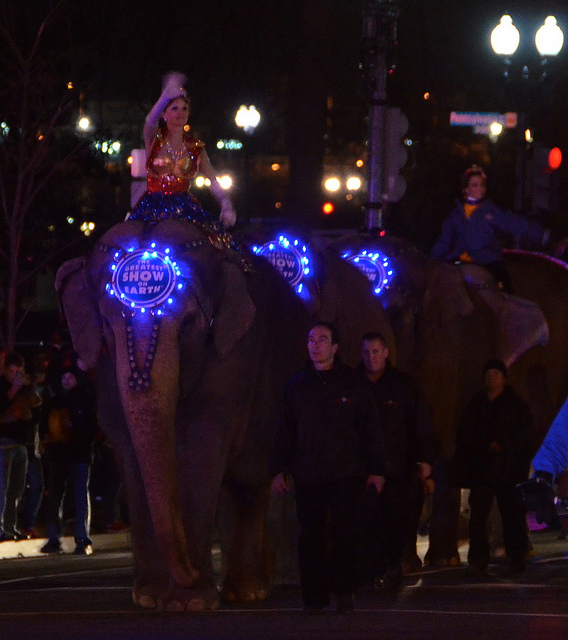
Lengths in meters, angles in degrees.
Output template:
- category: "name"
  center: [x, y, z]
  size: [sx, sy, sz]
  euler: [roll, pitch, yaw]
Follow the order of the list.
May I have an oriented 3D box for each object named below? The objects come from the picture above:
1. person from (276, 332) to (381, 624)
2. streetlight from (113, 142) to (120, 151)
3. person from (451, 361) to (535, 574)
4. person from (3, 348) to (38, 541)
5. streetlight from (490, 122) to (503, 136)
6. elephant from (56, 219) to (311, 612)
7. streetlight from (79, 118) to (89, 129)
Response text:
- category: "person"
  center: [0.255, 0.793, 5.373]
  size: [0.461, 1.467, 0.419]
  euler: [2, -7, -28]
- category: "streetlight"
  center: [-3.188, -3.304, 19.076]
  size: [0.030, 0.143, 0.145]
  euler: [0, 14, 24]
- category: "person"
  center: [1.579, 1.093, 7.629]
  size: [0.627, 1.587, 0.428]
  euler: [-2, -6, 10]
- category: "person"
  center: [-2.770, 1.321, 10.578]
  size: [0.336, 1.900, 1.214]
  euler: [1, -7, -14]
- category: "streetlight"
  center: [2.643, -2.400, 12.557]
  size: [0.116, 0.112, 0.072]
  euler: [26, 6, -7]
- category: "elephant"
  center: [-0.505, 0.384, 5.630]
  size: [1.286, 2.431, 1.684]
  euler: [-3, 4, -2]
- category: "streetlight"
  center: [-3.781, -3.742, 19.001]
  size: [0.045, 0.163, 0.168]
  euler: [-1, -17, 24]
